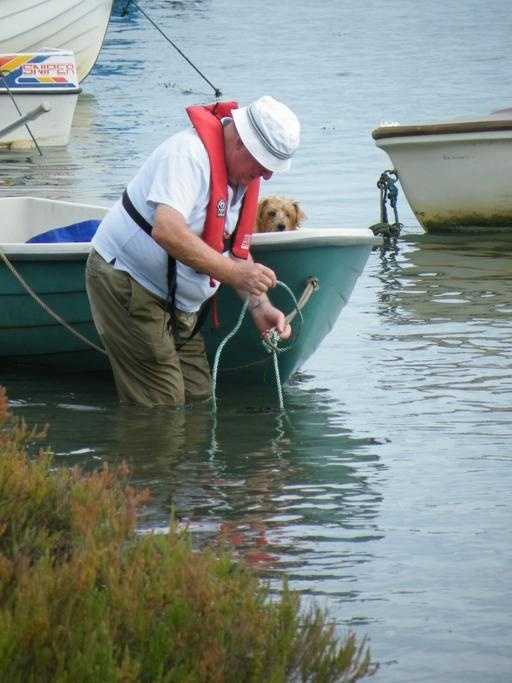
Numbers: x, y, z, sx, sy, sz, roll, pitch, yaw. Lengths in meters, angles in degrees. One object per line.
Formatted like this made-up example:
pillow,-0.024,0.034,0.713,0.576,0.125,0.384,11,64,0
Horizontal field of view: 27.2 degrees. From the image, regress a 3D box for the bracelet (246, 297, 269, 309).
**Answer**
bracelet,-0.004,-0.192,5.177,0.081,0.065,0.062,-27,-20,32
